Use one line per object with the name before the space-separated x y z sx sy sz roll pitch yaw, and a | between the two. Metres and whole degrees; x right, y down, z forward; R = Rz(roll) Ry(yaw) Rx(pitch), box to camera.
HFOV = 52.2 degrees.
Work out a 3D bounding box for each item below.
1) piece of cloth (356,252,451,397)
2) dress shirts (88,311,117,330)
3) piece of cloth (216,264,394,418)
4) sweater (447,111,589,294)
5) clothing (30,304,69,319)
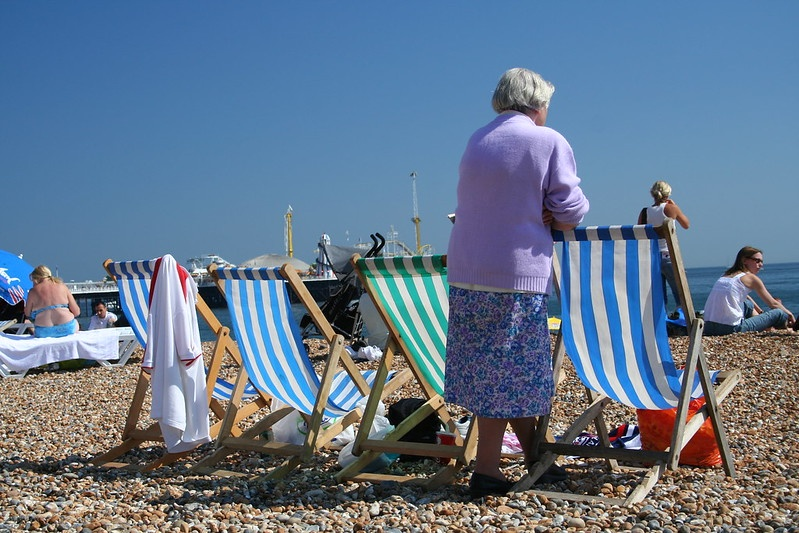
piece of cloth | 0.114 0.424 5.997 0.665 0.951 0.977 -5 -32 15
dress shirts | -5.203 0.965 14.308 0.409 0.512 0.333 2 -5 -17
piece of cloth | -0.814 0.353 5.976 0.746 0.973 1.199 1 -14 -40
sweater | 0.752 -0.372 5.208 0.898 1.094 0.599 9 16 33
clothing | -5.090 0.652 11.851 0.527 0.225 0.264 -4 7 -21
